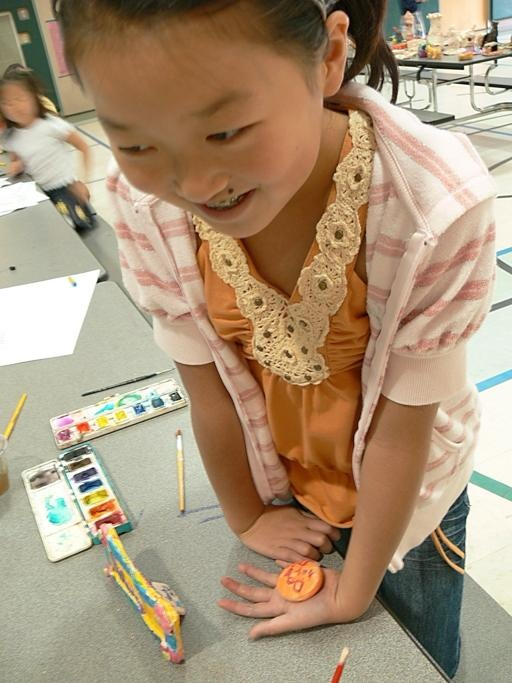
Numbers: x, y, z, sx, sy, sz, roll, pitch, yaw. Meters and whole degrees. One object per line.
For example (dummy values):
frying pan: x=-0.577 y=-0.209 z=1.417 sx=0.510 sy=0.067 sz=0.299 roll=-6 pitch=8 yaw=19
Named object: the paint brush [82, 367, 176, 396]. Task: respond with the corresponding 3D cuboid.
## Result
paint brush: x=-0.232 y=0.075 z=1.038 sx=0.198 sy=0.013 sz=0.013 roll=-14 pitch=14 yaw=-6
